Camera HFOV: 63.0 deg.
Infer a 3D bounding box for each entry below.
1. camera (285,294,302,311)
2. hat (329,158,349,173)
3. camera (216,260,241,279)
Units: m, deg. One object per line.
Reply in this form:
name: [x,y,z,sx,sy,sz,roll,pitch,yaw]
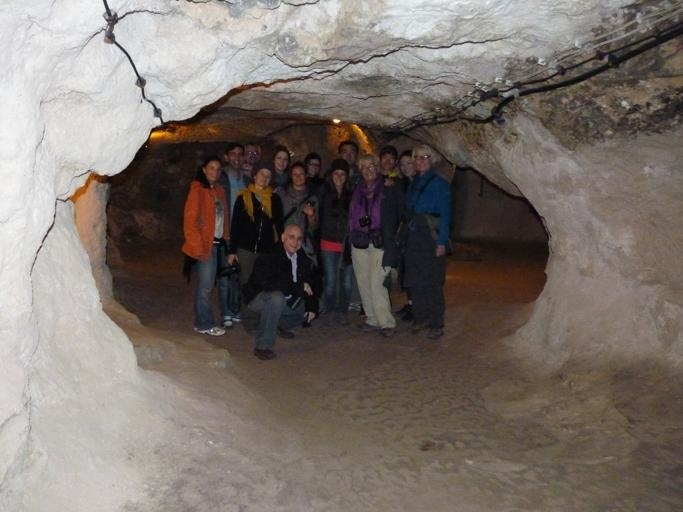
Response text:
camera: [-0.406,0.418,5.060,0.151,0.057,0.157,-25,15,-31]
hat: [-0.015,-0.883,5.522,0.144,0.113,0.146,3,-9,0]
camera: [-1.074,0.123,5.358,0.218,0.078,0.128,-11,7,20]
